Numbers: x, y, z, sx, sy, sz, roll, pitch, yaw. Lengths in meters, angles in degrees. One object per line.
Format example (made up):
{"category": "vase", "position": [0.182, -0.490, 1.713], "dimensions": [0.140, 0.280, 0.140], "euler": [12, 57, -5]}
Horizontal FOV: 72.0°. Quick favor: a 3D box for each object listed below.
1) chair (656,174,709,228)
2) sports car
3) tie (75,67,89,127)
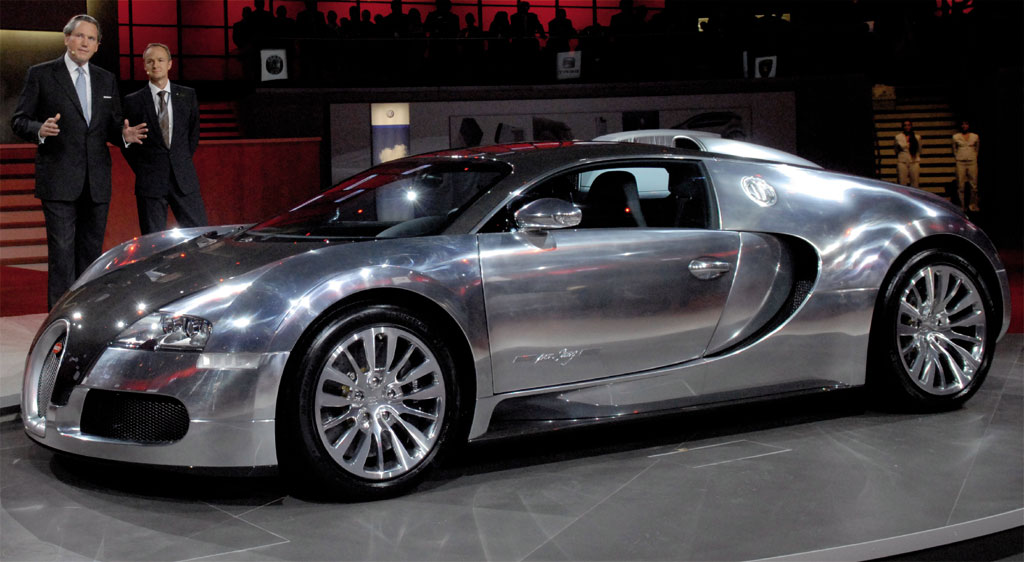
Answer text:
{"category": "chair", "position": [1.451, -0.652, 5.600], "dimensions": [0.308, 0.407, 0.469], "euler": [-16, -12, 30]}
{"category": "sports car", "position": [0.197, 0.245, 5.485], "dimensions": [6.289, 1.644, 3.051], "euler": [-1, 1, -22]}
{"category": "tie", "position": [-4.388, -1.916, 7.215], "dimensions": [0.093, 0.528, 0.090], "euler": [-1, 15, 2]}
